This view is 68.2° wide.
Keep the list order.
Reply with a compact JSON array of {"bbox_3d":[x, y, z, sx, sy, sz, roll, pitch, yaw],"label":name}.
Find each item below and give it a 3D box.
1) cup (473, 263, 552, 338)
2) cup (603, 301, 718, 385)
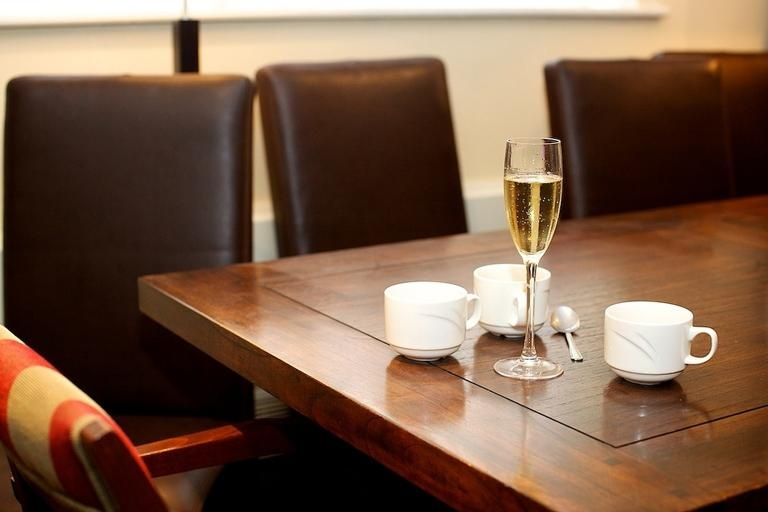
[{"bbox_3d":[0.177,0.054,0.793,0.093,0.076,0.116,0,12,1],"label":"cup"},{"bbox_3d":[0.325,0.103,0.667,0.111,0.088,0.107,-7,17,2],"label":"cup"}]
